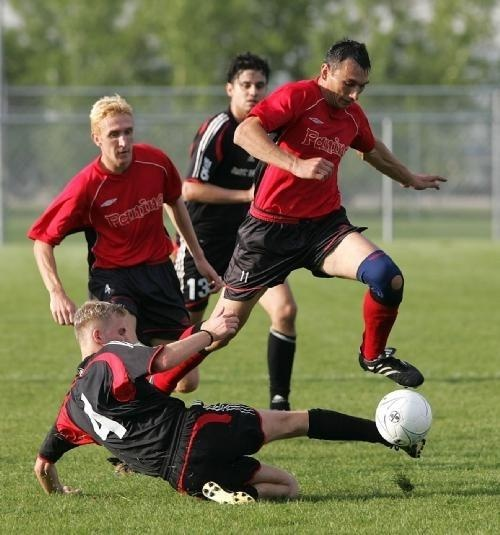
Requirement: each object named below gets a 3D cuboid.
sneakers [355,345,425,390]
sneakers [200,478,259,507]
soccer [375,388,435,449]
[{"bbox_3d":[0.718,0.548,5.167,0.491,0.193,0.146,11,35,23],"label":"sneakers"},{"bbox_3d":[-0.104,1.075,4.407,0.324,0.095,0.092,-1,11,-3],"label":"sneakers"},{"bbox_3d":[0.754,0.791,4.741,0.310,0.242,0.273,9,3,-36],"label":"soccer"}]
